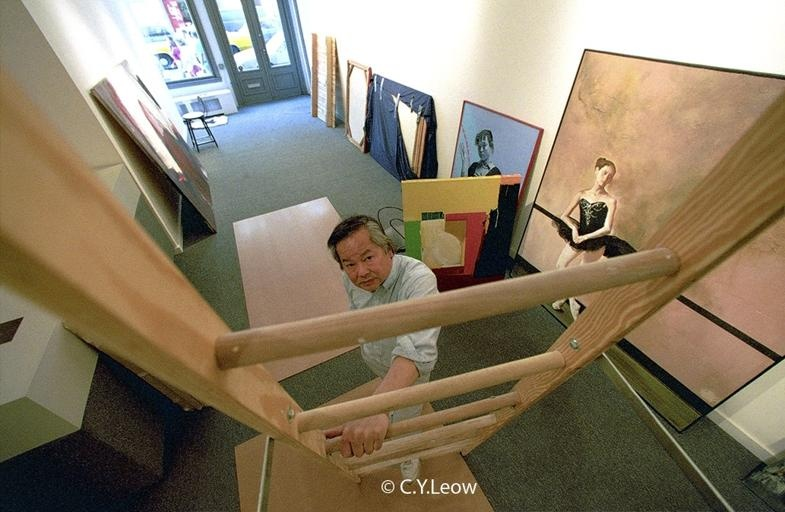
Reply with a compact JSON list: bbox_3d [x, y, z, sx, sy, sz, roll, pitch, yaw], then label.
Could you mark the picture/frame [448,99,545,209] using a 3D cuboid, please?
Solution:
[{"bbox_3d":[0.933,-0.872,4.089,0.035,0.802,0.853,-13,43,-28],"label":"picture/frame"}]
